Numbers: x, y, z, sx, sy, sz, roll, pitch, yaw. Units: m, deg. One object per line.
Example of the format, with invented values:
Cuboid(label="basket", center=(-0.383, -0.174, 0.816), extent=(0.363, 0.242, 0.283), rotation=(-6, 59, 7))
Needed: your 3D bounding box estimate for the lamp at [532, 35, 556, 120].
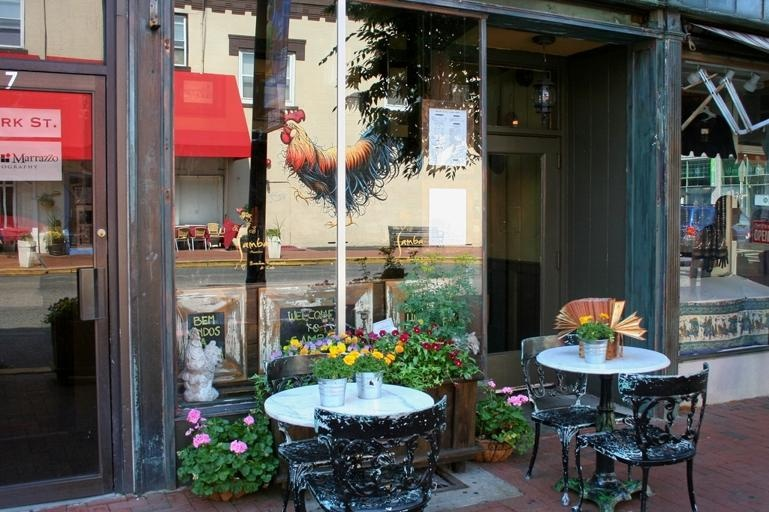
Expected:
Cuboid(label="lamp", center=(1.798, -1.976, 7.744), extent=(0.245, 0.909, 0.690), rotation=(-2, 3, 13))

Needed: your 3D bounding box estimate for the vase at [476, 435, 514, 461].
Cuboid(label="vase", center=(0.995, 1.764, 6.219), extent=(0.423, 0.221, 0.143), rotation=(-5, 4, -24))

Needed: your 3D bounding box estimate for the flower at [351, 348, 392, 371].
Cuboid(label="flower", center=(-0.106, 0.756, 4.940), extent=(0.183, 0.083, 0.183), rotation=(1, 2, 39))

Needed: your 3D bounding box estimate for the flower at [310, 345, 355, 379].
Cuboid(label="flower", center=(-0.372, 0.747, 4.912), extent=(0.252, 0.198, 0.279), rotation=(-1, -1, -1))

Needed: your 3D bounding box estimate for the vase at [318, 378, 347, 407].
Cuboid(label="vase", center=(-0.364, 0.949, 4.827), extent=(0.202, 0.155, 0.183), rotation=(-1, -1, 22))

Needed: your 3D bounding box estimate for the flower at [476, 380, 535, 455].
Cuboid(label="flower", center=(1.115, 1.482, 6.487), extent=(0.643, 0.469, 0.651), rotation=(2, 11, 7))

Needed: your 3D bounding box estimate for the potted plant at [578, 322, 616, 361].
Cuboid(label="potted plant", center=(1.743, 0.689, 5.689), extent=(0.299, 0.351, 0.232), rotation=(-2, 3, 21))

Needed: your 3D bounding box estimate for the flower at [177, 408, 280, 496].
Cuboid(label="flower", center=(-1.263, 1.627, 5.592), extent=(0.768, 0.403, 0.719), rotation=(-7, 44, -24))

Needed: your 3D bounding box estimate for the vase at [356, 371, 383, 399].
Cuboid(label="vase", center=(-0.111, 0.922, 4.944), extent=(0.197, 0.150, 0.176), rotation=(-1, 0, -3))

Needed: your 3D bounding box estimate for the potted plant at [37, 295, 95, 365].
Cuboid(label="potted plant", center=(-2.543, 0.613, 5.621), extent=(0.481, 0.659, 0.526), rotation=(-3, 4, -25))

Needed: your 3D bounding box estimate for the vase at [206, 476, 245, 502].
Cuboid(label="vase", center=(-1.274, 1.867, 5.561), extent=(0.210, 0.090, 0.213), rotation=(2, -1, 9))
